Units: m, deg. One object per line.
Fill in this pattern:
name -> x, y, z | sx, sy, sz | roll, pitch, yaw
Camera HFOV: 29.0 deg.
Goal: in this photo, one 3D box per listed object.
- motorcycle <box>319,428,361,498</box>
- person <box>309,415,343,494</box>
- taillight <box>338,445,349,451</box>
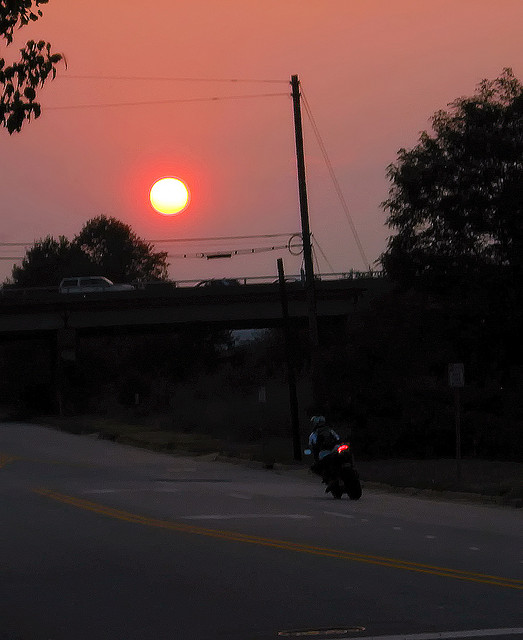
motorcycle -> 1.430, 2.702, 18.407 | 0.635, 1.072, 0.745 | -7, -8, 36
person -> 1.213, 2.562, 18.684 | 0.584, 0.961, 1.530 | -3, 3, -15
taillight -> 1.487, 2.282, 18.096 | 0.113, 0.100, 0.243 | -9, -10, 41
